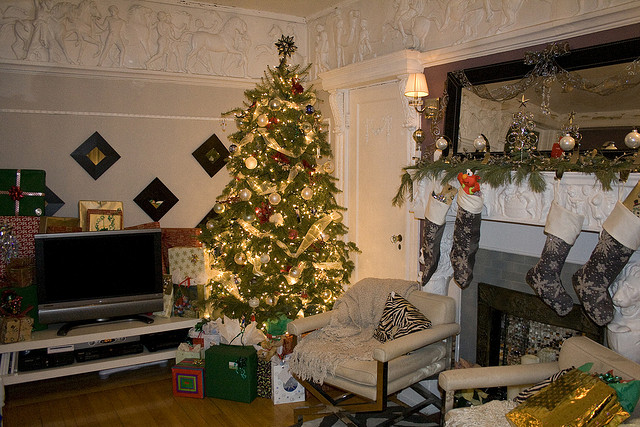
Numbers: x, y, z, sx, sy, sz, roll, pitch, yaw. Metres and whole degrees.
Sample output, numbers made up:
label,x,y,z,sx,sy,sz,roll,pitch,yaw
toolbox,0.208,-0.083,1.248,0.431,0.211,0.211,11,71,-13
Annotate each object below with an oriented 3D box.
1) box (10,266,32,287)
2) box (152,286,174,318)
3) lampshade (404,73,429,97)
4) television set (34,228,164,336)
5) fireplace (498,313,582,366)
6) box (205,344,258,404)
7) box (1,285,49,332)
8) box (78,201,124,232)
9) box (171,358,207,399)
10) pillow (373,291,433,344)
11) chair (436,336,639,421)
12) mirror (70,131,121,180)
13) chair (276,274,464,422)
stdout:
label,x,y,z,sx,sy,sz,roll,pitch,yaw
box,-3.110,0.649,4.858,0.197,0.200,0.198,3,4,34
box,-1.764,1.000,5.189,0.326,0.327,0.177,-5,7,-8
lampshade,0.928,-1.273,4.507,0.224,0.216,0.227,-1,8,-3
television set,-2.362,0.727,5.055,1.251,1.058,0.362,-3,4,-15
fireplace,1.918,1.186,4.193,0.494,0.451,0.754,-3,8,-28
box,-0.894,1.641,4.659,0.534,0.527,0.189,3,13,13
box,-3.078,0.992,4.948,0.495,0.470,0.436,-1,10,-24
box,-2.532,-0.016,5.253,0.455,0.349,0.274,-2,9,-35
box,-1.314,1.712,4.754,0.347,0.337,0.238,2,13,10
pillow,0.716,0.980,4.213,0.402,0.401,0.428,-3,12,-41
chair,1.607,1.265,3.303,0.858,0.728,0.808,1,-3,-20
mirror,-2.704,-0.723,5.582,0.039,0.595,0.578,11,10,42
chair,0.545,1.210,4.320,1.523,1.089,1.031,-9,16,-34
